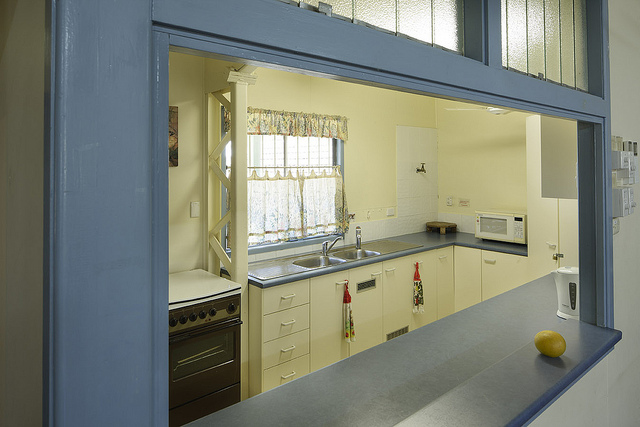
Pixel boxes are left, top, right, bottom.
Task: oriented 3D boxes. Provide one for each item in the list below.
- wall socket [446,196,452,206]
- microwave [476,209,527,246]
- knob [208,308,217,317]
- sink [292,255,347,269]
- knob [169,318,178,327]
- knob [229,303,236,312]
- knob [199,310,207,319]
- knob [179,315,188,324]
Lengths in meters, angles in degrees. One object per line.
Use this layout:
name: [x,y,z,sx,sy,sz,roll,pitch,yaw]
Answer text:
wall socket: [1.491,-0.145,5.194,0.015,0.111,0.079,-11,12,-43]
microwave: [1.733,0.130,4.236,0.179,0.293,0.451,-11,13,-43]
knob: [-0.647,0.594,2.713,0.044,0.048,0.046,-3,-6,-19]
sink: [0.002,0.403,3.739,0.215,0.085,0.166,-3,5,-43]
knob: [-0.827,0.617,2.558,0.046,0.058,0.016,-11,12,-42]
knob: [-0.546,0.581,2.798,0.044,0.051,0.017,0,10,-15]
knob: [-0.696,0.601,2.675,0.032,0.046,0.018,11,-6,-31]
knob: [-0.785,0.611,2.598,0.052,0.054,0.016,-11,12,-40]
